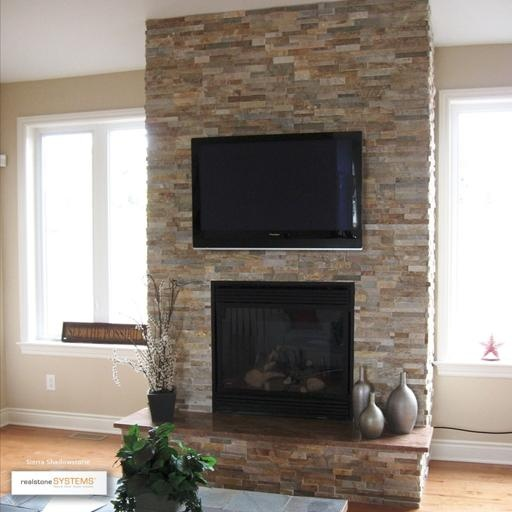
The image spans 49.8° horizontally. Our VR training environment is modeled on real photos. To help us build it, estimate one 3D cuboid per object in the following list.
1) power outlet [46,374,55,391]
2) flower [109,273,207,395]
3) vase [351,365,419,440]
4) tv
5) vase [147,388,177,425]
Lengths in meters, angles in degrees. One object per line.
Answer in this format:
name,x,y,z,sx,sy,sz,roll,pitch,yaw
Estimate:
power outlet,-1.670,1.028,4.492,0.090,0.134,0.016,0,2,23
flower,-0.591,0.475,3.455,0.451,0.717,0.263,0,2,25
vase,0.710,0.802,3.047,0.366,0.355,0.308,0,1,13
tv,0.117,-0.401,3.345,1.193,0.672,0.081,4,9,31
vase,-0.557,0.897,3.293,0.224,0.213,0.173,0,-7,-3
